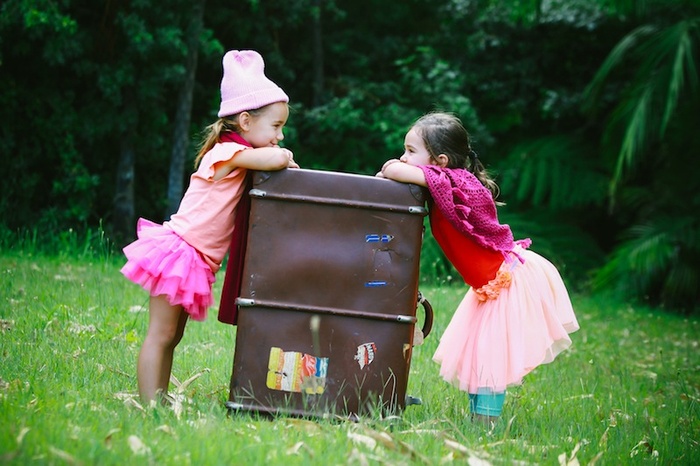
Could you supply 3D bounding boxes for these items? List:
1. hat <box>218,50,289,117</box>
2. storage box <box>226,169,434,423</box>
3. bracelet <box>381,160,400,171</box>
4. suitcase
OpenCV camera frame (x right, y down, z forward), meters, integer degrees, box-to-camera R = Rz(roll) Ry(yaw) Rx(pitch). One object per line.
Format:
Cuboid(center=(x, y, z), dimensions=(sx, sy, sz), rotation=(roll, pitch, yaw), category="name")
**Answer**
Cuboid(center=(-0.562, -0.841, 4.181), dimensions=(0.417, 0.399, 0.386), rotation=(-4, 6, -3), category="hat")
Cuboid(center=(-0.091, 0.398, 4.621), dimensions=(1.178, 1.622, 1.147), rotation=(5, -5, -7), category="storage box")
Cuboid(center=(0.226, -0.371, 4.049), dimensions=(0.072, 0.099, 0.034), rotation=(3, -43, 43), category="bracelet")
Cuboid(center=(-0.100, 0.743, 4.432), dimensions=(1.220, 1.698, 1.384), rotation=(0, -38, 8), category="suitcase")
